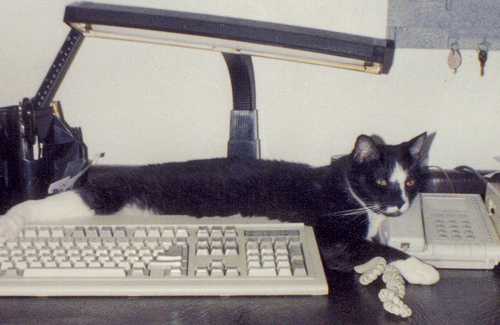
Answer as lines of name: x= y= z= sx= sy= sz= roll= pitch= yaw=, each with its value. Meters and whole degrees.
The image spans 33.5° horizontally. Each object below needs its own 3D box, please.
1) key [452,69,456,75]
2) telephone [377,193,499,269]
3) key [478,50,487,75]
key: x=0.696 y=-0.311 z=2.818 sx=0.012 sy=0.018 sz=0.006 roll=3 pitch=4 yaw=26
telephone: x=0.624 y=0.207 z=2.668 sx=0.308 sy=0.119 sz=0.240 roll=-2 pitch=53 yaw=11
key: x=0.788 y=-0.340 z=2.807 sx=0.030 sy=0.080 sz=0.008 roll=2 pitch=14 yaw=5
